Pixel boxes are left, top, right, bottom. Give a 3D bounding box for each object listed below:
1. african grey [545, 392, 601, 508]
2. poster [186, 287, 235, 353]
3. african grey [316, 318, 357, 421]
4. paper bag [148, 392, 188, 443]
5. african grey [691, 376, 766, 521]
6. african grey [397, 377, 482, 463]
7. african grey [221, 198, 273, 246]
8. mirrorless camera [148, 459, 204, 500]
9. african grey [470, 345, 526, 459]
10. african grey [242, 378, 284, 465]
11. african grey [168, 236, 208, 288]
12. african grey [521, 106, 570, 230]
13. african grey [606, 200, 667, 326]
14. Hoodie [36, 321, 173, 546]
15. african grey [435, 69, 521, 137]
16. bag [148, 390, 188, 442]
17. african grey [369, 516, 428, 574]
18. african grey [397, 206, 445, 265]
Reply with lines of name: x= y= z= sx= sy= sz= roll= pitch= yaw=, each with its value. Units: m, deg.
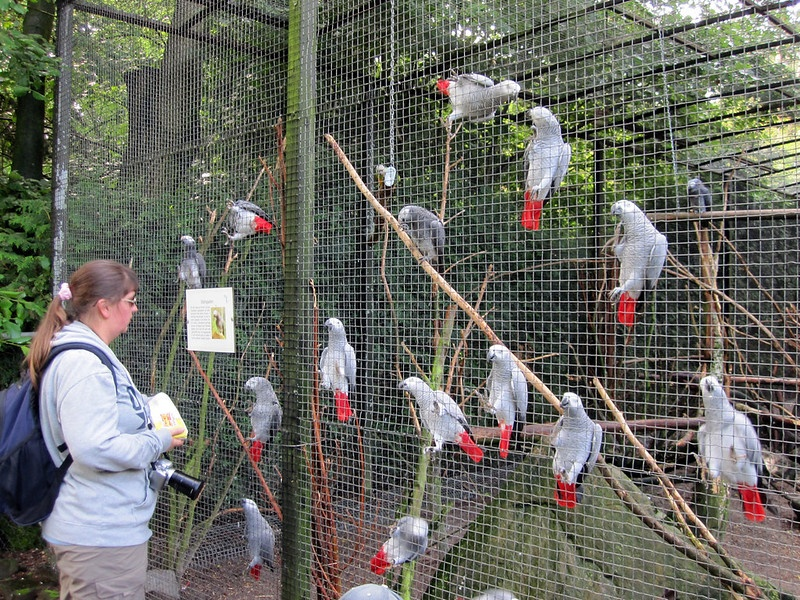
african grey: x=0.776 y=0.667 z=3.617 sx=0.208 sy=0.505 sz=0.160 roll=2 pitch=0 yaw=31
poster: x=-0.993 y=0.104 z=4.281 sx=0.369 sy=0.337 sz=0.031 roll=-2 pitch=0 yaw=35
african grey: x=-0.305 y=0.334 z=4.003 sx=0.181 sy=0.500 sz=0.218 roll=2 pitch=0 yaw=-3
paper bag: x=-1.075 y=0.530 z=3.776 sx=0.132 sy=0.240 sz=0.058 roll=-17 pitch=-24 yaw=-39
african grey: x=1.442 y=0.575 z=3.569 sx=0.261 sy=0.574 sz=0.276 roll=2 pitch=0 yaw=25
african grey: x=0.200 y=0.567 z=3.980 sx=0.471 sy=0.390 sz=0.241 roll=16 pitch=-20 yaw=7
african grey: x=-0.804 y=-0.420 z=4.365 sx=0.309 sy=0.221 sz=0.256 roll=2 pitch=0 yaw=7
mirrorless camera: x=-1.037 y=0.845 z=3.762 sx=0.224 sy=0.132 sz=0.144 roll=28 pitch=29 yaw=2
african grey: x=0.476 y=0.437 z=3.783 sx=0.209 sy=0.503 sz=0.400 roll=2 pitch=0 yaw=16
african grey: x=-0.728 y=0.634 z=4.337 sx=0.190 sy=0.460 sz=0.282 roll=2 pitch=0 yaw=-8
african grey: x=-1.165 y=-0.199 z=4.577 sx=0.170 sy=0.381 sz=0.207 roll=18 pitch=28 yaw=22
african grey: x=0.662 y=-0.593 z=3.696 sx=0.203 sy=0.544 sz=0.249 roll=2 pitch=0 yaw=10
african grey: x=1.061 y=-0.168 z=3.644 sx=0.230 sy=0.544 sz=0.129 roll=2 pitch=0 yaw=11
Hoodie: x=-1.359 y=0.499 z=4.057 sx=0.747 sy=1.218 sz=0.957 roll=0 pitch=0 yaw=-21
african grey: x=0.374 y=-0.930 z=3.809 sx=0.419 sy=0.245 sz=0.175 roll=3 pitch=0 yaw=35
bag: x=-1.092 y=0.557 z=3.806 sx=0.160 sy=0.070 sz=0.283 roll=-14 pitch=45 yaw=-43
african grey: x=0.002 y=1.181 z=4.001 sx=0.304 sy=0.215 sz=0.148 roll=-44 pitch=-6 yaw=6
african grey: x=0.109 y=-0.315 z=3.936 sx=0.207 sy=0.280 sz=0.315 roll=2 pitch=0 yaw=15
